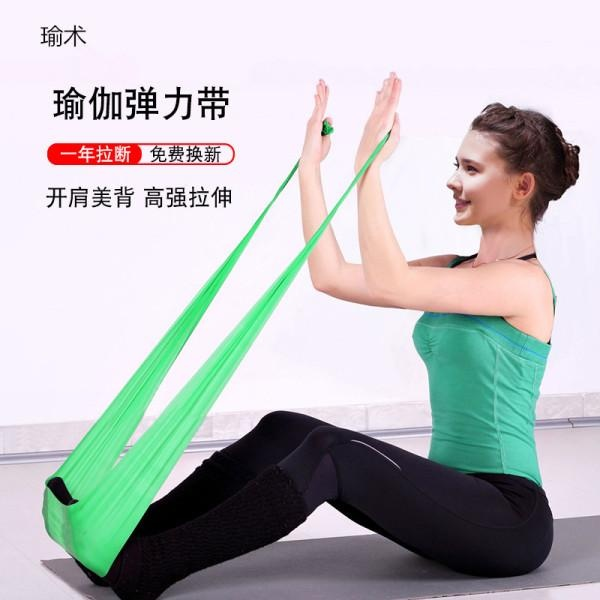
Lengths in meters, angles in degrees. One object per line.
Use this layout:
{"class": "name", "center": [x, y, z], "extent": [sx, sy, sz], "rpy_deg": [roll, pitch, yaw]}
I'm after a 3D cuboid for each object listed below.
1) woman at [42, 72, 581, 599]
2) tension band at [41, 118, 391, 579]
{"class": "woman", "center": [0.296, 0.172, 2.048], "extent": [1.644, 1.491, 0.675], "rpy_deg": [1, -4, -9]}
{"class": "tension band", "center": [-0.245, 0.205, 1.443], "extent": [0.500, 0.637, 0.312], "rpy_deg": [1, -4, -23]}
